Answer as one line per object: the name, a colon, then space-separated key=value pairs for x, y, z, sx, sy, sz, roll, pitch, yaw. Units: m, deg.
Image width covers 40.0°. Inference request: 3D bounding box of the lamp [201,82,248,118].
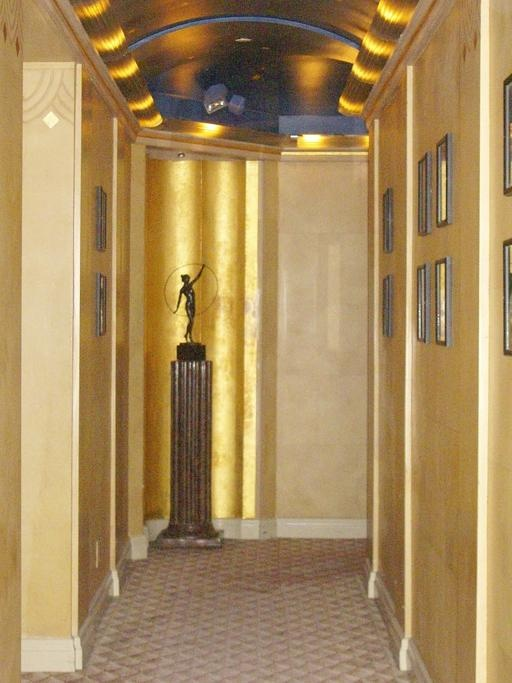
lamp: x=-0.230 y=-1.730 z=5.017 sx=0.248 sy=0.188 sz=0.075 roll=-8 pitch=3 yaw=-19
